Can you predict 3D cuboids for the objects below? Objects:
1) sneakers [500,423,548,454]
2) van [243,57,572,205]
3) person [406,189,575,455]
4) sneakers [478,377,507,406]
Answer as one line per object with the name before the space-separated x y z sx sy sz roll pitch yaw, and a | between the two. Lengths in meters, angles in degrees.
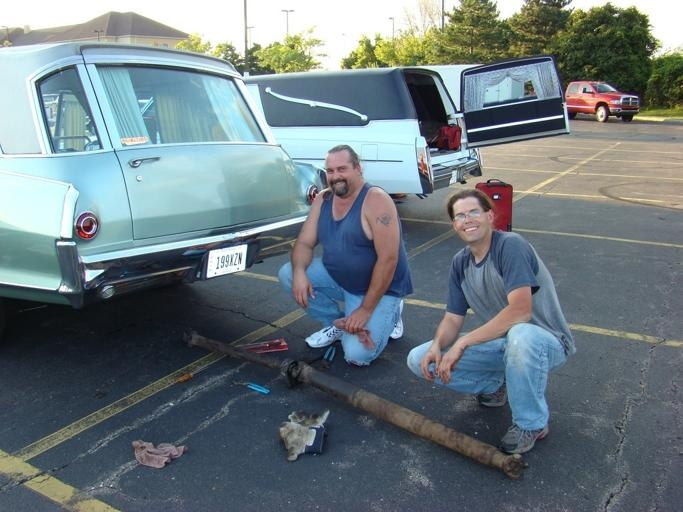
sneakers | 1.072 1.056 3.041 0.368 0.145 0.134 -6 3 -36
van | 0.781 -1.502 7.706 4.161 1.441 2.573 16 31 28
person | 0.896 0.369 3.077 0.786 1.507 0.704 4 22 41
sneakers | 1.071 0.937 3.456 0.298 0.115 0.097 -2 5 -21
